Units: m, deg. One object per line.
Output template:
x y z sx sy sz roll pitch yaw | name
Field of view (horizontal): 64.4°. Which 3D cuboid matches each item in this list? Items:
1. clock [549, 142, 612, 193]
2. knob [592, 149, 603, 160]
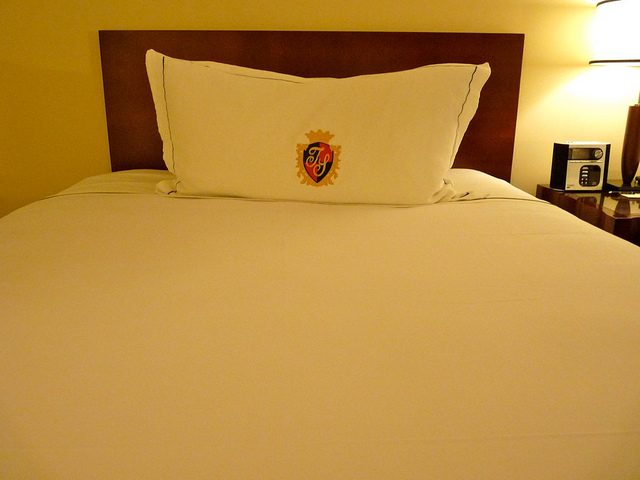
1.085 -0.290 2.089 0.177 0.129 0.191 5 -89 31 | clock
1.097 -0.335 2.019 0.028 0.035 0.038 0 -80 -1 | knob
